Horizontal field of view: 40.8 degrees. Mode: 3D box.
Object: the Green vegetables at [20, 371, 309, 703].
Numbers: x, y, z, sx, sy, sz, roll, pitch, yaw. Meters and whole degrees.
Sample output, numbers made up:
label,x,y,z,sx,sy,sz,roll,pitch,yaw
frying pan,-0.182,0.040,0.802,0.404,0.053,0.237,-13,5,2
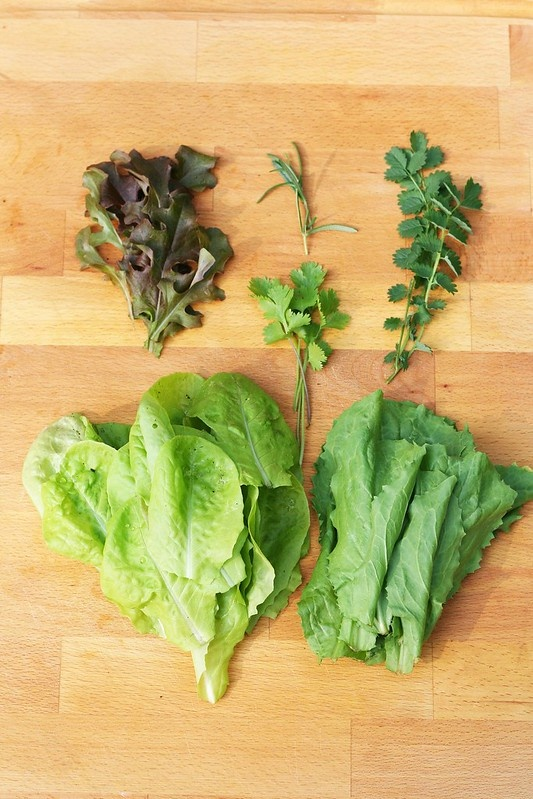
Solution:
label,x,y,z,sx,sy,sz,roll,pitch,yaw
Green vegetables,-0.127,0.189,1.077,0.466,0.462,0.185,-11,-9,0
